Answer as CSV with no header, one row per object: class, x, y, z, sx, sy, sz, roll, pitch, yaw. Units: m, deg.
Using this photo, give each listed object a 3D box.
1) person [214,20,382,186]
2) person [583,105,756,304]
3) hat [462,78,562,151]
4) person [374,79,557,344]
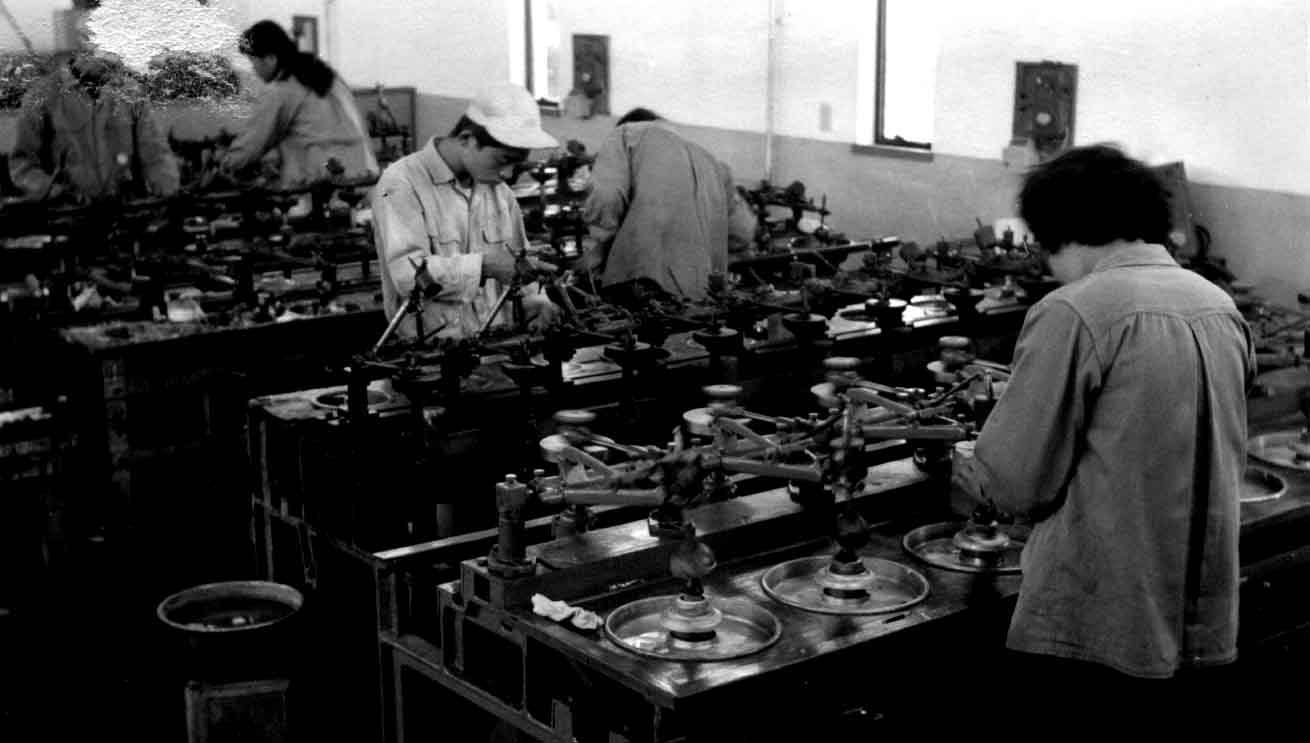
person,-2.679,-1.734,8.135,1.073,1.544,0.785,-3,48,-26
person,0.096,-1.086,7.562,1.203,1.163,0.872,3,-9,-30
hat,-0.696,-1.237,5.526,0.557,0.236,0.389,16,23,-5
person,-0.923,-0.758,5.606,0.862,1.225,0.634,-6,15,-12
